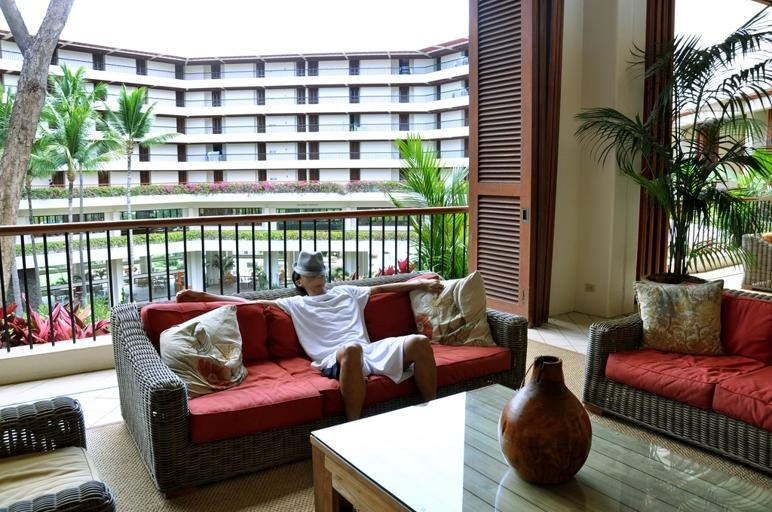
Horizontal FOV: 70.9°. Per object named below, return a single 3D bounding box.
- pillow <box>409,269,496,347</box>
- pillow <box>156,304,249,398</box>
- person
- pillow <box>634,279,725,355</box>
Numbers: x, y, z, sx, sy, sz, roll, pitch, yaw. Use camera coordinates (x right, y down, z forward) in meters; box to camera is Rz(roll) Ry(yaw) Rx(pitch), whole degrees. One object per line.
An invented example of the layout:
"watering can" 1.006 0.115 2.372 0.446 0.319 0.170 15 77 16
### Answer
"pillow" 0.478 0.404 4.076 0.530 0.454 0.227 -2 -9 19
"pillow" -1.158 0.605 3.387 0.435 0.356 0.227 -22 -22 -49
"person" -0.219 0.559 3.869 1.415 1.062 1.859 8 11 40
"pillow" 2.044 0.446 3.807 0.509 0.460 0.179 2 -3 23
